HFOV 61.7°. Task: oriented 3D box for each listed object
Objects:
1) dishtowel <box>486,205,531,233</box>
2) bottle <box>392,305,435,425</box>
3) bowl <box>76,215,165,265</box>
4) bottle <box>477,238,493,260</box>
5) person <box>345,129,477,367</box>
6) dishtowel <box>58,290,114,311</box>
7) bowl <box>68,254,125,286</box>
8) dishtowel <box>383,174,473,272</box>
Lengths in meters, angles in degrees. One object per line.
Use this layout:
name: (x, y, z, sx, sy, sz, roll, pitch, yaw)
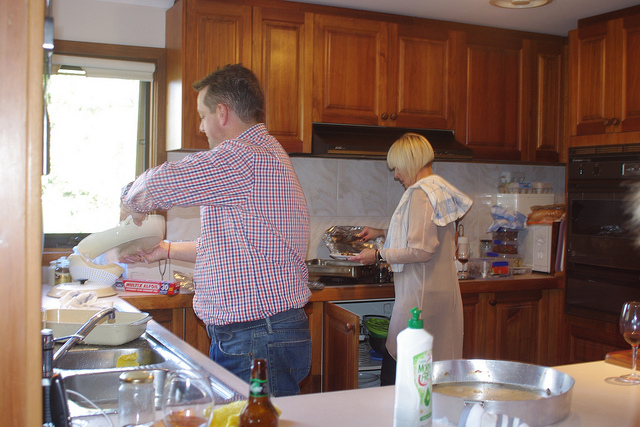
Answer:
dishtowel: (1.306, 0.020, 3.734, 0.250, 0.137, 0.312, 9, 29, 25)
bottle: (0.197, 0.327, 1.144, 0.083, 0.248, 0.055, -1, 3, 3)
bowl: (-0.800, 0.110, 2.151, 0.265, 0.105, 0.210, -10, -22, -30)
bottle: (1.186, 0.250, 3.867, 0.102, 0.139, 0.218, 0, 3, 16)
person: (0.465, 0.228, 2.866, 0.651, 1.279, 0.999, 0, 3, 14)
dishtowel: (-0.947, 0.352, 2.150, 0.128, 0.054, 0.176, 1, -2, -6)
bowl: (-1.148, 0.292, 2.713, 0.191, 0.085, 0.168, 12, 3, -34)
dishtowel: (0.507, -0.008, 2.588, 0.417, 0.361, 0.224, 0, 3, 16)
